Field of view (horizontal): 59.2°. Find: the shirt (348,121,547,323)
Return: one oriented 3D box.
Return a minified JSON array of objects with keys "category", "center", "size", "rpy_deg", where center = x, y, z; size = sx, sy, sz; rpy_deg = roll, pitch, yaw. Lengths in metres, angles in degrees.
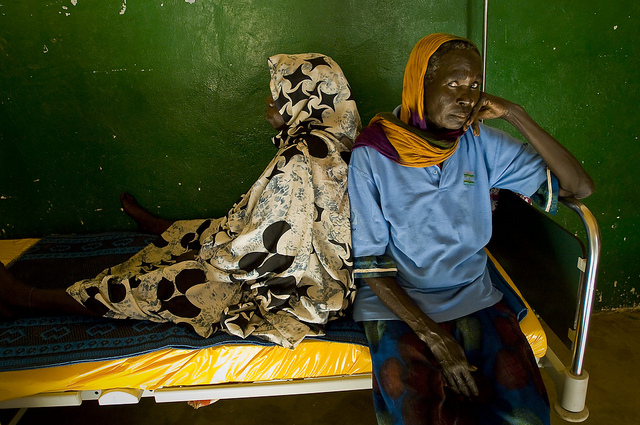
[{"category":"shirt","center":[0.765,0.006,3.351],"size":[1.209,1.109,0.590],"rpy_deg":[-9,22,-6]}]
